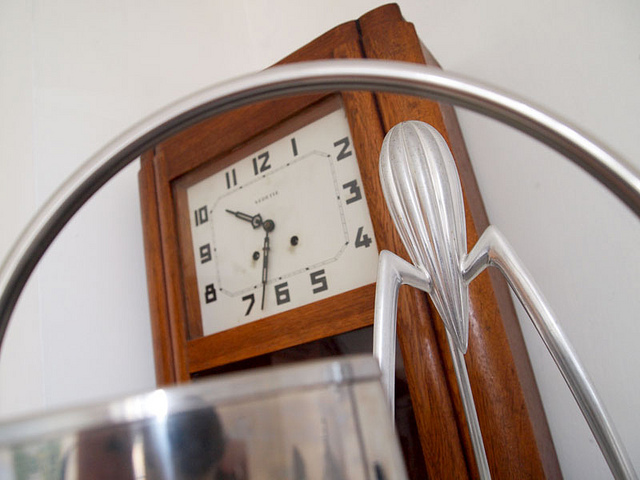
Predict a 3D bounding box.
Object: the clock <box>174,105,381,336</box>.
[{"bbox_3d":[-0.082,-0.019,0.819,0.417,0.354,0.034,-18,-11,25],"label":"clock"}]
